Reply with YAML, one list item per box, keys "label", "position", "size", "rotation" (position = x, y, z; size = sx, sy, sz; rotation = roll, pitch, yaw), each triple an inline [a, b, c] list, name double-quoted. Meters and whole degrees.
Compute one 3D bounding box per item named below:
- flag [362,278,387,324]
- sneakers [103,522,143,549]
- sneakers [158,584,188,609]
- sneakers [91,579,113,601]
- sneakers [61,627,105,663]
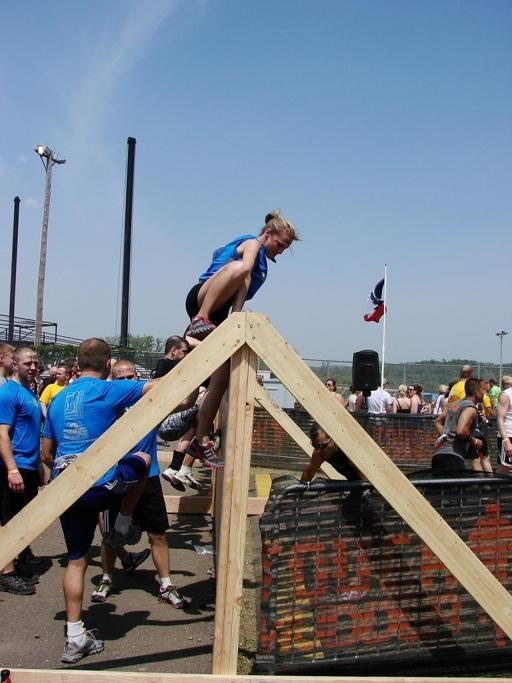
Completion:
- label: "flag"
  position: [3.438, -1.190, 24.388]
  size: [0.680, 1.212, 0.931]
  rotation: [-6, 1, 8]
- label: "sneakers"
  position: [-0.958, 1.397, 6.004]
  size: [0.136, 0.131, 0.338]
  rotation: [2, -2, 7]
- label: "sneakers"
  position: [-0.579, 1.794, 5.998]
  size: [0.246, 0.104, 0.116]
  rotation: [12, 4, 33]
- label: "sneakers"
  position: [-1.116, 1.787, 6.113]
  size: [0.093, 0.086, 0.222]
  rotation: [-4, -2, 4]
- label: "sneakers"
  position: [-1.035, 1.821, 5.086]
  size: [0.121, 0.127, 0.297]
  rotation: [-3, -1, 35]
